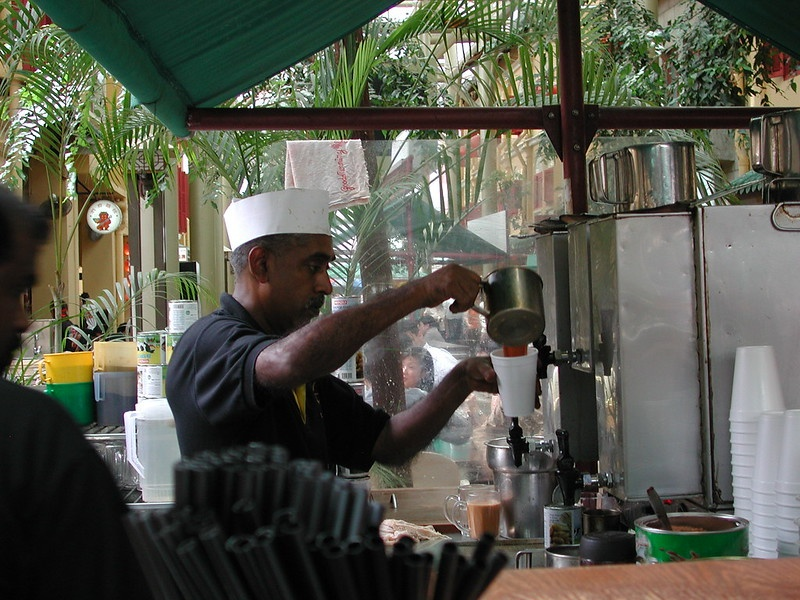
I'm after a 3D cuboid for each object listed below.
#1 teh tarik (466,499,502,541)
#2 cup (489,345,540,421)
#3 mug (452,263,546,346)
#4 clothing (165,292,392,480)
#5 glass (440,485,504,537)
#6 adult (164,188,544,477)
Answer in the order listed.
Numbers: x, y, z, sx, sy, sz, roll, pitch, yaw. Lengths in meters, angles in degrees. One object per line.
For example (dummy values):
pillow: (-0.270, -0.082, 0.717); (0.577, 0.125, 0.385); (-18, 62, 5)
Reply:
teh tarik: (0.269, 0.704, 2.338); (0.099, 0.121, 0.080); (-3, -6, 5)
cup: (0.314, 0.227, 1.948); (0.117, 0.187, 0.153); (-6, -7, 29)
mug: (0.259, 0.010, 1.918); (0.209, 0.160, 0.170); (-4, -38, 1)
clothing: (-0.365, 0.248, 2.107); (0.410, 0.701, 0.646); (-19, -20, 8)
glass: (0.241, 0.714, 2.421); (0.205, 0.179, 0.128); (1, -8, -26)
adult: (-0.088, 0.163, 2.541); (1.034, 1.469, 0.979); (-3, -3, 7)
